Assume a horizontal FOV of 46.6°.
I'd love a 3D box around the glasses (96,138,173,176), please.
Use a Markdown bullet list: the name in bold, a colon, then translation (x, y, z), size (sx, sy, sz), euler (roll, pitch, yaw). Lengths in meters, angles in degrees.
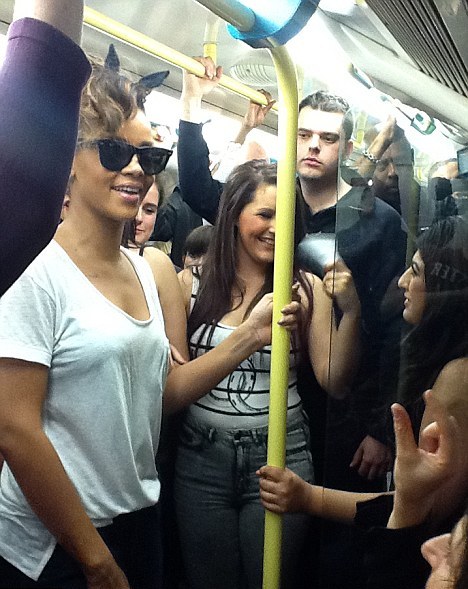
- **glasses**: translation (-0.187, -0.250, 0.969), size (0.084, 0.027, 0.091), euler (11, 7, 34)
